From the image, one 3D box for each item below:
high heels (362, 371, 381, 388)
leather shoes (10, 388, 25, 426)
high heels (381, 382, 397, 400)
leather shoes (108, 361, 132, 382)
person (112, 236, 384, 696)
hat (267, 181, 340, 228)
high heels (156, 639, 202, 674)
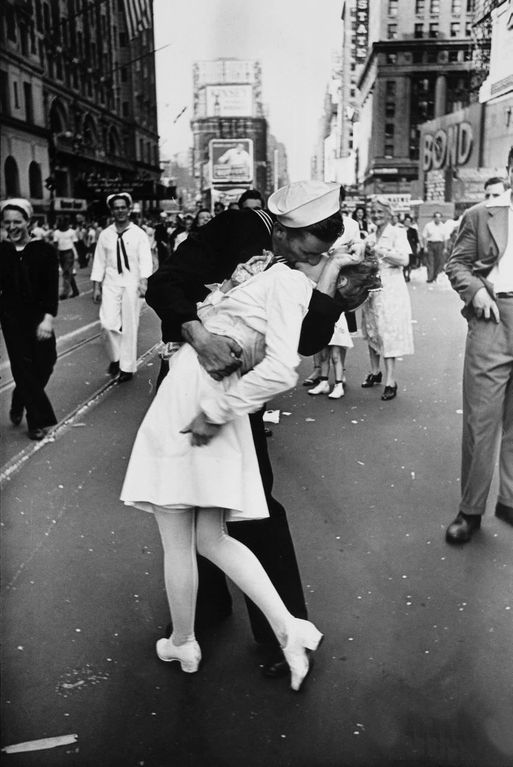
[{"bbox_3d":[1.336,-0.039,8.159,0.111,0.147,0.325,-5,7,39],"label":"high heels"},{"bbox_3d":[-2.185,0.224,6.402,0.107,0.237,0.345,0,59,-12],"label":"leather shoes"},{"bbox_3d":[1.405,0.102,7.450,0.088,0.115,0.260,-5,8,22],"label":"high heels"},{"bbox_3d":[-1.717,-0.124,8.729,0.161,0.233,0.524,-5,3,-5],"label":"leather shoes"},{"bbox_3d":[-0.048,0.325,2.164,0.754,1.424,0.429,1,10,10],"label":"person"},{"bbox_3d":[0.134,-0.515,2.028,0.209,0.141,0.127,1,11,6],"label":"hat"},{"bbox_3d":[-0.284,0.935,2.464,0.160,0.098,0.087,24,50,22],"label":"high heels"}]
